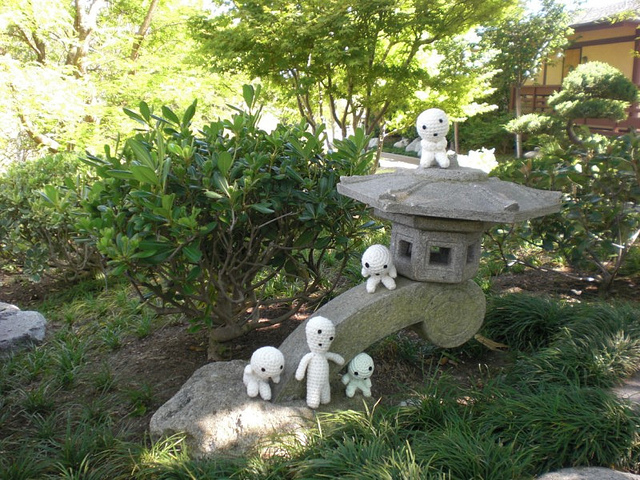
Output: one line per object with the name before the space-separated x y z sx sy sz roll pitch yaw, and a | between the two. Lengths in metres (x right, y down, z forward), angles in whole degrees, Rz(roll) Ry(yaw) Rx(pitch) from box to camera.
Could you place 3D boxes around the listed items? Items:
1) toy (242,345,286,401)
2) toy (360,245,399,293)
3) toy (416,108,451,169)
toy | -0.469 1.132 3.897 0.332 0.386 0.283 18 13 -33
toy | 0.470 0.213 4.083 0.415 0.476 0.371 -4 36 3
toy | 1.013 -0.907 4.139 0.294 0.538 0.335 -1 12 11
